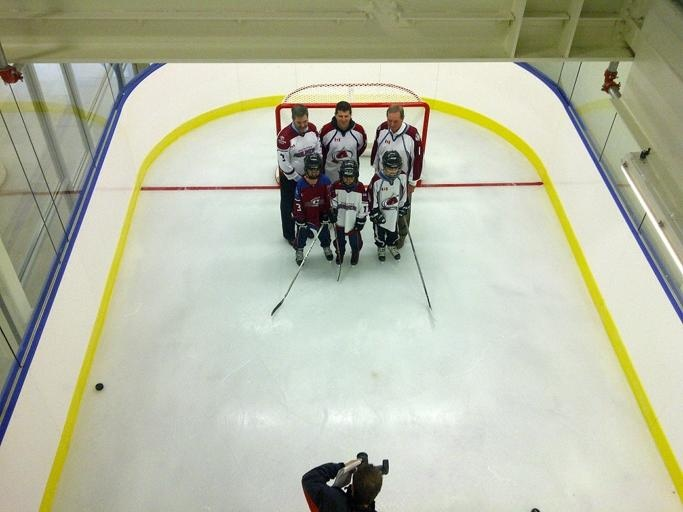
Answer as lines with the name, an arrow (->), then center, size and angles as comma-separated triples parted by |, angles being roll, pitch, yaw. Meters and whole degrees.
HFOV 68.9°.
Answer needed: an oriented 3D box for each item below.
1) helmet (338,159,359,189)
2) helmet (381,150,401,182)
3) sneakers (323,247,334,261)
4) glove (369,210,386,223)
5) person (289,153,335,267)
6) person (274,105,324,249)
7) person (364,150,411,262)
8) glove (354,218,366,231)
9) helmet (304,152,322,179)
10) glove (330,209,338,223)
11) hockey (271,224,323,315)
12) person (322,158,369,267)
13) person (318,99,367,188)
helmet -> 0.075, -0.788, 4.954 | 0.174, 0.262, 0.266 | 0, 54, 1
helmet -> 0.483, -0.873, 4.956 | 0.186, 0.259, 0.262 | -8, 55, -2
sneakers -> -0.149, -0.017, 5.712 | 0.062, 0.083, 0.196 | -10, 30, -5
glove -> 0.391, -0.399, 5.370 | 0.144, 0.143, 0.108 | -35, 50, -11
person -> -0.306, -0.472, 5.340 | 0.434, 1.396, 0.374 | -13, 44, -16
person -> -0.493, -0.898, 5.647 | 0.457, 1.675, 0.446 | -18, 48, -23
person -> 0.503, -0.515, 5.346 | 0.414, 1.263, 0.365 | -8, 33, -9
glove -> 0.192, -0.358, 5.336 | 0.114, 0.173, 0.103 | 11, 60, -6
helmet -> -0.286, -0.902, 5.019 | 0.163, 0.250, 0.230 | 0, 13, -1
glove -> -0.081, -0.420, 5.295 | 0.086, 0.133, 0.042 | 5, 9, 41
hockey -> -0.481, 0.167, 5.490 | 0.158, 1.145, 0.379 | 31, -13, -32
person -> 0.074, -0.424, 5.304 | 0.383, 1.283, 0.344 | 9, 37, 10
person -> 0.008, -1.194, 5.586 | 0.508, 1.110, 0.308 | -3, 44, -4
